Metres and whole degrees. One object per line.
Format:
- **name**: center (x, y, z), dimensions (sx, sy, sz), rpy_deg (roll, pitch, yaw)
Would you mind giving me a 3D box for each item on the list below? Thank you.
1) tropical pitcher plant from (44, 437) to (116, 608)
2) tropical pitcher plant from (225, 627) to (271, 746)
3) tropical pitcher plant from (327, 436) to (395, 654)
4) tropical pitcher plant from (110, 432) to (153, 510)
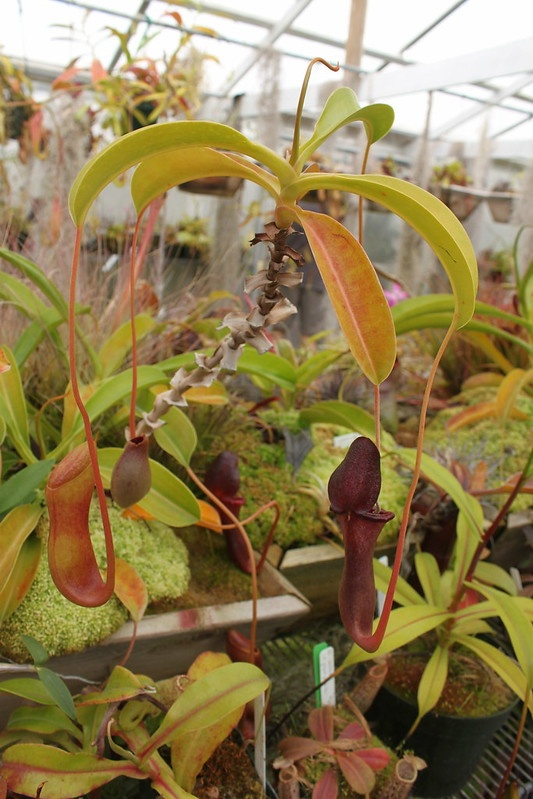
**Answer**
- **tropical pitcher plant**: center (-0.202, 0.132, 0.700), dimensions (0.064, 0.146, 0.101), rpy_deg (0, 19, -20)
- **tropical pitcher plant**: center (-0.042, 0.443, 0.996), dimensions (0.086, 0.155, 0.067), rpy_deg (4, -3, -19)
- **tropical pitcher plant**: center (0.093, 0.161, 0.700), dimensions (0.075, 0.221, 0.133), rpy_deg (9, 18, 5)
- **tropical pitcher plant**: center (-0.151, 0.084, 0.738), dimensions (0.052, 0.084, 0.047), rpy_deg (10, 10, 17)
